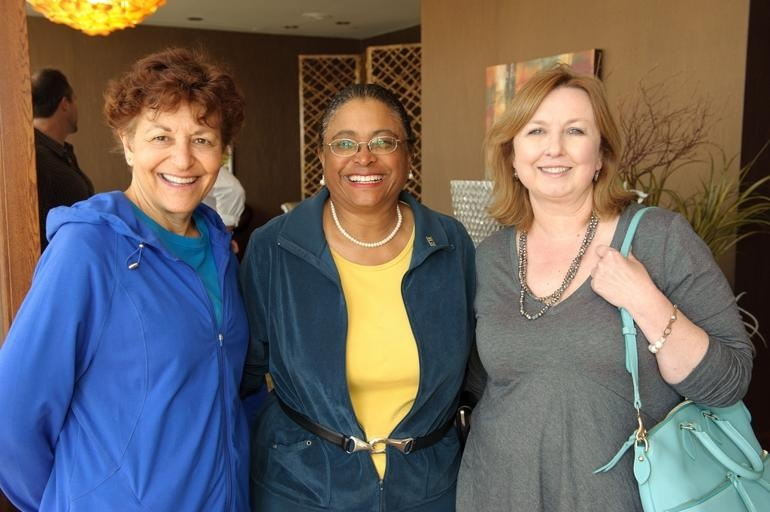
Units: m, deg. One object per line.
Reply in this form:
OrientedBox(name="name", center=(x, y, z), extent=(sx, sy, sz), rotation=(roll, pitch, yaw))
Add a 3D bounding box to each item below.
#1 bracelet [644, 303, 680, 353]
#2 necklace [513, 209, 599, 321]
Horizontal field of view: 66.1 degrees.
OrientedBox(name="bracelet", center=(0.841, 0.227, 1.795), extent=(0.059, 0.166, 0.026), rotation=(28, -10, 18))
OrientedBox(name="necklace", center=(0.555, 0.062, 1.983), extent=(0.064, 0.384, 0.224), rotation=(18, -9, -42))
